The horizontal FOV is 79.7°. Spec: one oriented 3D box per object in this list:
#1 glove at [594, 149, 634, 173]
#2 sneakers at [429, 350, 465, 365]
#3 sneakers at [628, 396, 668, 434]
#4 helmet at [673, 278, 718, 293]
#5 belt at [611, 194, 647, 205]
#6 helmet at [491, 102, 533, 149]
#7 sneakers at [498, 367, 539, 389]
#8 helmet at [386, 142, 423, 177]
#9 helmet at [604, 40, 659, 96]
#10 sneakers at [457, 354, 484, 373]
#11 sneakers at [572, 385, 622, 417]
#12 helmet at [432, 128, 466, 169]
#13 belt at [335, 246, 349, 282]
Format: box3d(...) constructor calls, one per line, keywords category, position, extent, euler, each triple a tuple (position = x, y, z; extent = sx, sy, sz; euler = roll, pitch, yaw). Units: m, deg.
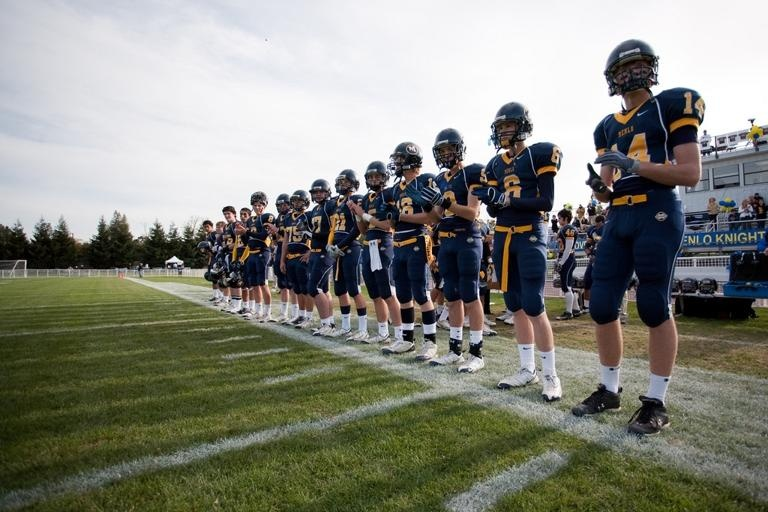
box3d(category="glove", position=(2.037, -0.836, 4.081), extent=(0.322, 0.201, 0.156), euler=(-1, 7, 2))
box3d(category="sneakers", position=(0.802, 1.317, 5.915), extent=(0.434, 0.172, 0.152), euler=(1, -7, -17))
box3d(category="sneakers", position=(2.271, 1.368, 3.967), extent=(0.417, 0.247, 0.233), euler=(-8, 10, -43))
box3d(category="helmet", position=(6.312, 0.638, 9.340), extent=(0.653, 0.269, 0.483), euler=(6, -5, -39))
box3d(category="belt", position=(2.222, -0.508, 4.199), extent=(0.072, 0.102, 0.296), euler=(-6, 9, -32))
box3d(category="helmet", position=(1.487, -1.539, 5.333), extent=(0.404, 0.481, 0.545), euler=(5, 18, 39))
box3d(category="sneakers", position=(1.449, 1.339, 5.052), extent=(0.511, 0.201, 0.174), euler=(-1, -9, -21))
box3d(category="helmet", position=(0.345, -1.415, 6.745), extent=(0.587, 0.541, 0.455), euler=(-5, 2, -8))
box3d(category="helmet", position=(2.327, -1.762, 4.357), extent=(0.411, 0.452, 0.567), euler=(-6, -3, 29))
box3d(category="sneakers", position=(1.045, 1.313, 5.547), extent=(0.132, 0.160, 0.407), euler=(-14, -17, 35))
box3d(category="sneakers", position=(1.983, 1.373, 4.383), extent=(0.574, 0.243, 0.200), euler=(-1, -2, -14))
box3d(category="helmet", position=(0.903, -1.439, 6.017), extent=(0.392, 0.469, 0.533), euler=(4, 16, 39))
box3d(category="belt", position=(-0.751, 0.182, 7.951), extent=(0.147, 0.472, 0.349), euler=(3, 2, -33))
